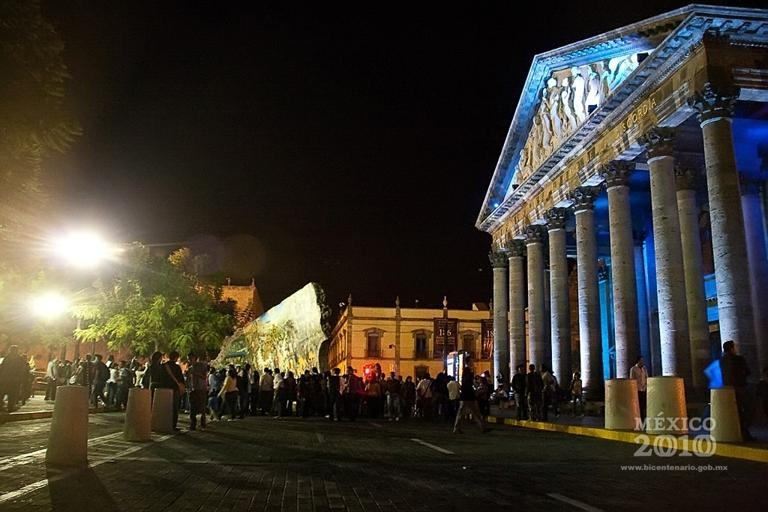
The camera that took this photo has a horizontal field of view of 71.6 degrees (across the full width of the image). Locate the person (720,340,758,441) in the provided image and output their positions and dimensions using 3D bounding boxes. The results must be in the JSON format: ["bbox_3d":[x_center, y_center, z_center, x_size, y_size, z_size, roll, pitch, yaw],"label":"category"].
[{"bbox_3d":[9.088,3.412,13.739,0.593,2.569,1.006,-9,-20,36],"label":"person"}]

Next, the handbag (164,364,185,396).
[{"bbox_3d":[-6.547,3.924,16.764,0.677,0.926,0.242,-27,4,46],"label":"handbag"}]
